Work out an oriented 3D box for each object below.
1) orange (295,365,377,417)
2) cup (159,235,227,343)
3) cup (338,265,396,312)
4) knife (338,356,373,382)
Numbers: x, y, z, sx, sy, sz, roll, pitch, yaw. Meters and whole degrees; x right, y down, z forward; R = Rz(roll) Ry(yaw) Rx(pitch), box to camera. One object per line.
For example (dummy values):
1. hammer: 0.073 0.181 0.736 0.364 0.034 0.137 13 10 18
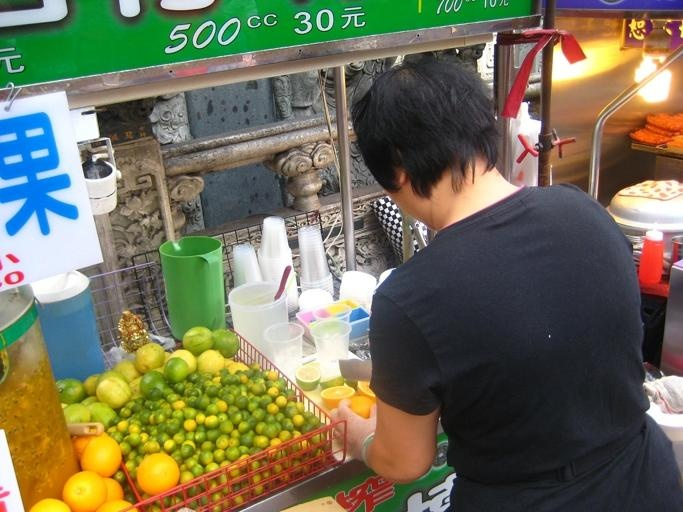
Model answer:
1. orange: -0.025 0.482 1.912 0.234 0.080 0.252 -19 25 -24
2. cup: -0.681 0.162 2.343 0.246 0.416 0.343 -21 37 -32
3. cup: 0.128 0.150 2.637 0.243 0.270 0.203 30 -19 -19
4. knife: 0.055 0.416 1.849 0.100 0.053 0.091 -1 3 2
